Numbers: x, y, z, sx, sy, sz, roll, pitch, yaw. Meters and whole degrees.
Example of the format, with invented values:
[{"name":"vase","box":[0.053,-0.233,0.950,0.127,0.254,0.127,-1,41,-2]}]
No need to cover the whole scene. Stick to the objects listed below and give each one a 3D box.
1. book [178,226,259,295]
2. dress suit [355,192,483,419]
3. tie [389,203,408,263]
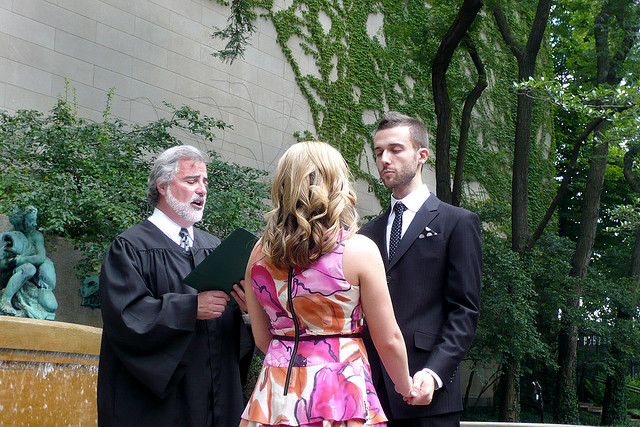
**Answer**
[{"name":"book","box":[-0.876,0.459,5.330,0.518,0.752,0.180,32,26,-18]},{"name":"dress suit","box":[0.950,0.762,5.713,0.997,1.989,1.105,-2,-2,-14]},{"name":"tie","box":[0.700,0.191,5.568,0.114,0.597,0.104,-2,-24,13]}]
